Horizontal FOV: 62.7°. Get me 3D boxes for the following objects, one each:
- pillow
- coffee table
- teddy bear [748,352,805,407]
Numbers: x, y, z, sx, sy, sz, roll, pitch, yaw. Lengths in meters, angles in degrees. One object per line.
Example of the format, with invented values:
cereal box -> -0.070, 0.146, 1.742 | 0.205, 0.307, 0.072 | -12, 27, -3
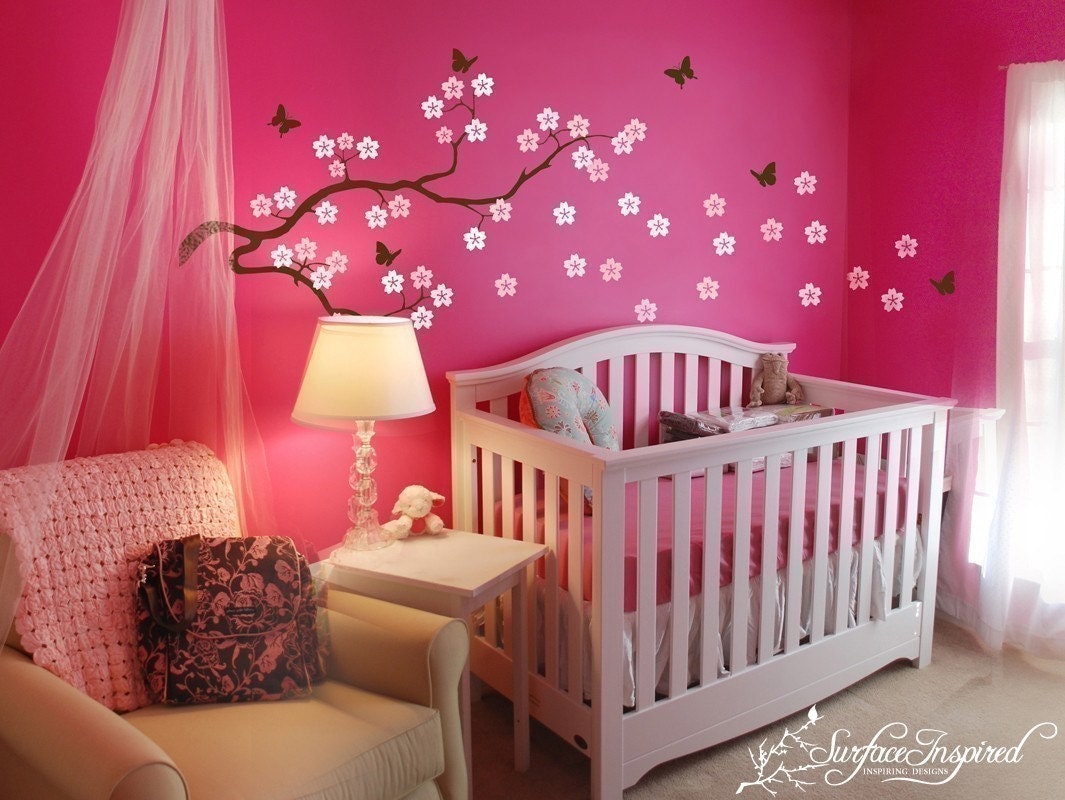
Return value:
pillow -> 0.153, 0.127, 3.052 | 0.165, 0.451, 0.326 | -25, 2, 41
coffee table -> -0.330, 0.660, 2.842 | 0.567, 0.923, 0.727 | 9, 14, 40
teddy bear -> 1.022, -0.077, 3.677 | 0.217, 0.243, 0.125 | -4, 9, 3
